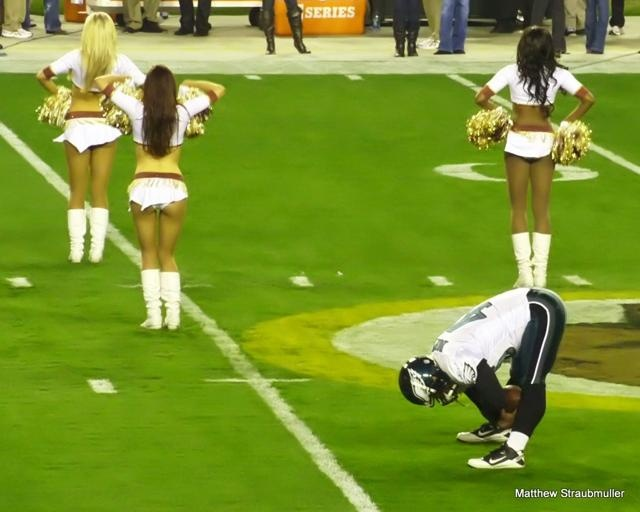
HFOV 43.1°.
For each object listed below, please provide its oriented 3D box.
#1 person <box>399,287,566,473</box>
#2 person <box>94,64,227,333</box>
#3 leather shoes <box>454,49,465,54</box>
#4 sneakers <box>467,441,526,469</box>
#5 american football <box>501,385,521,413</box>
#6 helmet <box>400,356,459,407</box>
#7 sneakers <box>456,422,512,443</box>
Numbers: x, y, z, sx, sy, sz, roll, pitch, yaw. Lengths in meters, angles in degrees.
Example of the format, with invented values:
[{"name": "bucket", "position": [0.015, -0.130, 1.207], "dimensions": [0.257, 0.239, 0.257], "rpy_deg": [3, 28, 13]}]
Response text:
[{"name": "person", "position": [0.800, 0.618, 3.952], "dimensions": [0.644, 0.891, 0.535], "rpy_deg": [-11, 17, -42]}, {"name": "person", "position": [-1.165, -0.428, 6.146], "dimensions": [0.847, 1.972, 0.450], "rpy_deg": [-1, 13, -8]}, {"name": "leather shoes", "position": [2.944, -4.301, 17.087], "dimensions": [0.153, 0.051, 0.095], "rpy_deg": [0, 5, -1]}, {"name": "sneakers", "position": [0.849, 0.962, 3.964], "dimensions": [0.313, 0.131, 0.112], "rpy_deg": [1, 2, 8]}, {"name": "american football", "position": [0.973, 0.715, 4.095], "dimensions": [0.099, 0.110, 0.129], "rpy_deg": [8, 11, 28]}, {"name": "helmet", "position": [0.524, 0.597, 3.950], "dimensions": [0.280, 0.199, 0.209], "rpy_deg": [11, -4, -2]}, {"name": "sneakers", "position": [0.873, 0.942, 4.286], "dimensions": [0.284, 0.110, 0.101], "rpy_deg": [0, 4, 12]}]
